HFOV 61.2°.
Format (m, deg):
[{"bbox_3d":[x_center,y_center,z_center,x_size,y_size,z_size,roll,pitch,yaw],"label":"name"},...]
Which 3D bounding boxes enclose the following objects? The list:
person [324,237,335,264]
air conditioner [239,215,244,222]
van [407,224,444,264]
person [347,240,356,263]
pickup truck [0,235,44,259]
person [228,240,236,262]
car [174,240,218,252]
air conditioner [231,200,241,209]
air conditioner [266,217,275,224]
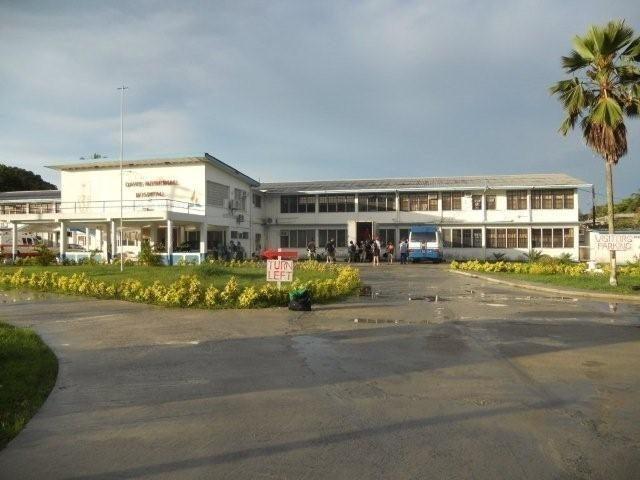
[{"bbox_3d":[0.616,0.505,36.649,0.453,2.145,1.023,-2,-3,1],"label":"person"},{"bbox_3d":[-5.960,-1.648,40.668,0.376,0.408,0.399,0,-4,-5],"label":"air conditioner"},{"bbox_3d":[8.001,0.153,39.937,2.125,2.515,4.764,0,3,19],"label":"van"},{"bbox_3d":[2.433,0.869,40.794,0.608,1.443,1.512,1,6,7],"label":"person"},{"bbox_3d":[-20.144,0.481,36.149,2.251,1.134,1.303,-3,4,-29],"label":"pickup truck"},{"bbox_3d":[-6.249,0.677,38.350,0.578,1.188,2.282,-1,6,-8],"label":"person"},{"bbox_3d":[-8.573,0.419,37.213,2.523,0.996,1.367,1,-2,-4],"label":"car"},{"bbox_3d":[-6.156,-2.514,38.930,0.456,0.719,0.922,0,-4,10],"label":"air conditioner"},{"bbox_3d":[-4.347,-1.661,47.399,0.616,0.605,1.015,6,8,45],"label":"air conditioner"}]
